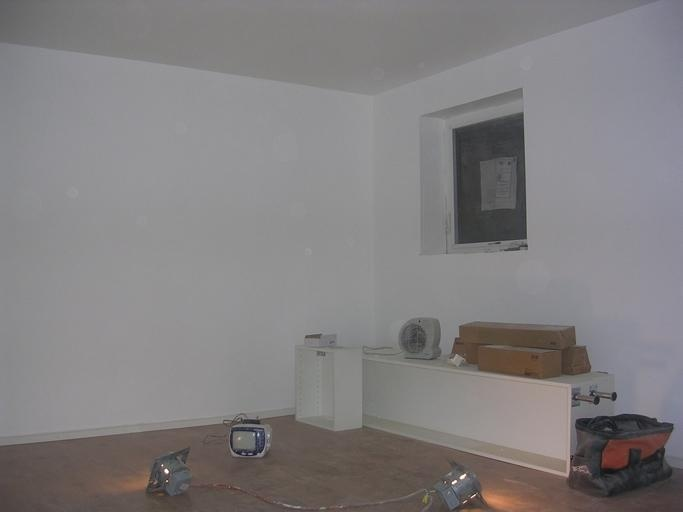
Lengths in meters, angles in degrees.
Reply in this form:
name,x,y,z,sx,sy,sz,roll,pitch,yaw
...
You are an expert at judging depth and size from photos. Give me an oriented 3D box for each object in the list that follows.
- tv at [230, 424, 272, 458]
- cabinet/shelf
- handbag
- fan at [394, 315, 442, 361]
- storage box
name,x,y,z,sx,sy,sz,roll,pitch,yaw
tv,-0.712,1.434,3.949,0.257,0.204,0.263,-1,-5,7
cabinet/shelf,-0.065,1.327,5.175,0.815,0.814,0.399,5,-20,-31
handbag,1.862,1.138,3.417,0.723,0.452,0.403,0,2,-32
fan,0.720,0.752,4.730,0.347,0.384,0.378,2,-4,11
storage box,1.428,0.734,4.139,0.998,0.388,0.518,3,5,44
